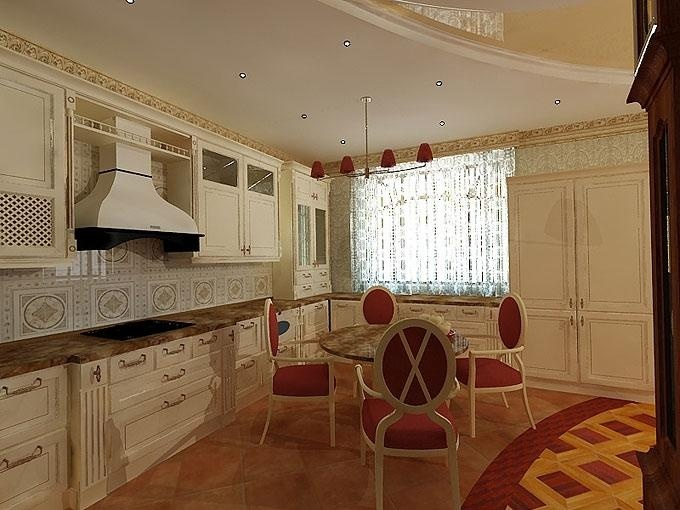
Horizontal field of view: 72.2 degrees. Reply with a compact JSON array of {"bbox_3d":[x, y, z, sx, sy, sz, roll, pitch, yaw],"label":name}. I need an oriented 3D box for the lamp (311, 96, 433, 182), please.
[{"bbox_3d":[0.248,-1.108,4.363,1.153,0.692,0.349,-4,3,21],"label":"lamp"}]

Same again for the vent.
[{"bbox_3d":[-1.763,-0.597,4.019,0.638,1.187,1.251,-4,-4,28],"label":"vent"}]

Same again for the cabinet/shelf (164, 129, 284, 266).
[{"bbox_3d":[-1.216,-0.589,4.787,0.435,1.368,1.435,-3,-6,25],"label":"cabinet/shelf"}]

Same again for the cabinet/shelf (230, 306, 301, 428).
[{"bbox_3d":[-0.725,1.074,4.351,0.368,0.878,1.052,-3,-3,12],"label":"cabinet/shelf"}]
